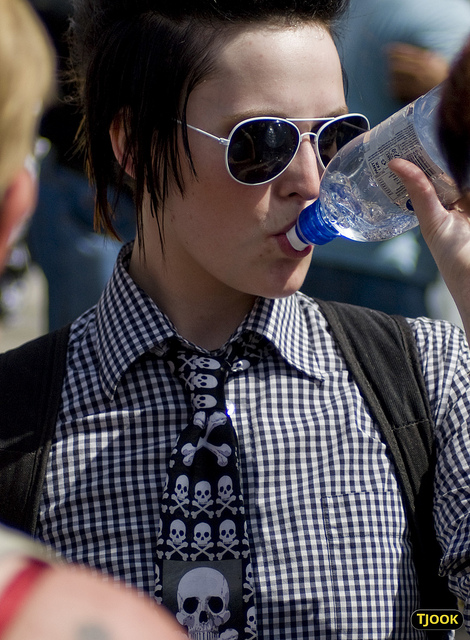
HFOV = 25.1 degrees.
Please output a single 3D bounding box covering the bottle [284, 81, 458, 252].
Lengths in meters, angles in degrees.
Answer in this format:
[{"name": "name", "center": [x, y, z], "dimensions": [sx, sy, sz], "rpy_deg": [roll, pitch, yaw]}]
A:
[{"name": "bottle", "center": [0.278, -0.319, 2.284], "dimensions": [0.350, 0.489, 0.261], "rpy_deg": [-6, 68, -7]}]
